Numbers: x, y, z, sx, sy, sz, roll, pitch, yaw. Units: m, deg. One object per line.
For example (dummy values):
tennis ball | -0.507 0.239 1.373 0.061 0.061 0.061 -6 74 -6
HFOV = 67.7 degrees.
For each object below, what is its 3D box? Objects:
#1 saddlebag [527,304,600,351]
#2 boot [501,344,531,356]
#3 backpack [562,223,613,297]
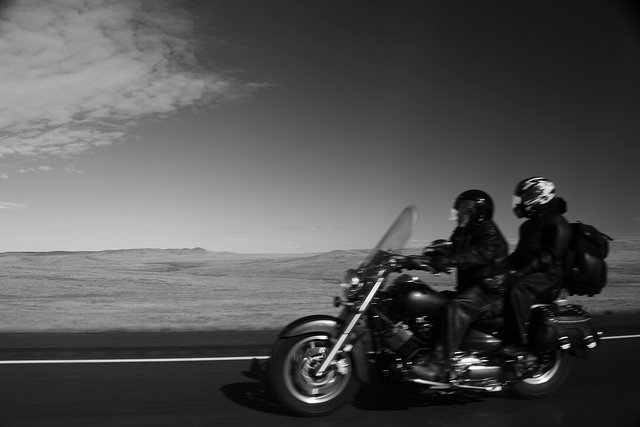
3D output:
saddlebag | 2.921 1.502 5.952 0.891 0.445 0.637 8 -17 -26
boot | 2.343 1.626 5.692 0.297 0.059 0.170 -2 -13 4
backpack | 3.420 0.549 6.117 0.561 0.684 0.643 7 -5 24
